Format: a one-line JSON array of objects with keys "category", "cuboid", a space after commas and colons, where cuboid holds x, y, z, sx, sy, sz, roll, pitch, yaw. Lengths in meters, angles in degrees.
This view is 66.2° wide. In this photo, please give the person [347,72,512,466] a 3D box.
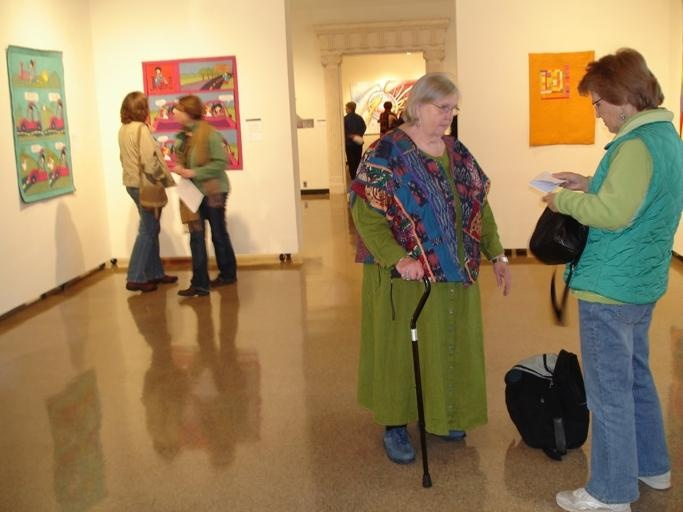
[{"category": "person", "cuboid": [0.462, 0.103, 2.766, 0.800, 2.031, 0.527, -1, 13, 3]}]

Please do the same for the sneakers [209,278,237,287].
[{"category": "sneakers", "cuboid": [-1.392, 0.314, 6.105, 0.268, 0.133, 0.105, 1, 0, -18]}]

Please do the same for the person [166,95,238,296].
[{"category": "person", "cuboid": [-1.558, -0.665, 5.809, 0.679, 2.122, 0.531, -9, 14, -27]}]

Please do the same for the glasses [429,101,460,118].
[{"category": "glasses", "cuboid": [0.530, -0.732, 2.623, 0.093, 0.080, 0.219, 9, 19, 39]}]

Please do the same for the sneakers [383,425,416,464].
[{"category": "sneakers", "cuboid": [0.318, 1.039, 2.895, 0.101, 0.094, 0.214, -4, 4, -11]}]

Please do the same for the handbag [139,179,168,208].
[{"category": "handbag", "cuboid": [-2.105, -0.687, 5.801, 0.268, 0.325, 0.134, -1, 2, -22]}]
